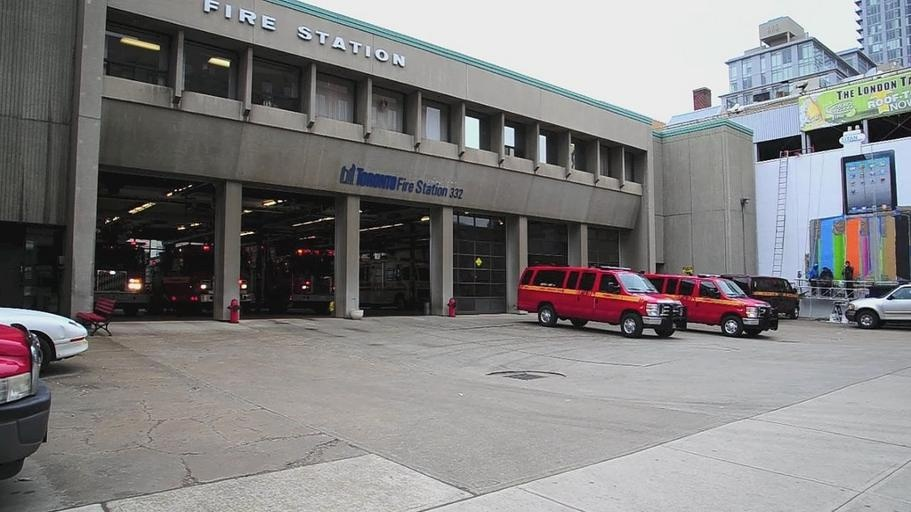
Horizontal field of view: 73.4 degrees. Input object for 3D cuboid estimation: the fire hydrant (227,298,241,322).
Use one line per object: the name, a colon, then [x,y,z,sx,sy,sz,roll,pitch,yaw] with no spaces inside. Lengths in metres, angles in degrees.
fire hydrant: [-10.587,2.542,28.788,0.458,1.067,0.667,-3,13,-19]
